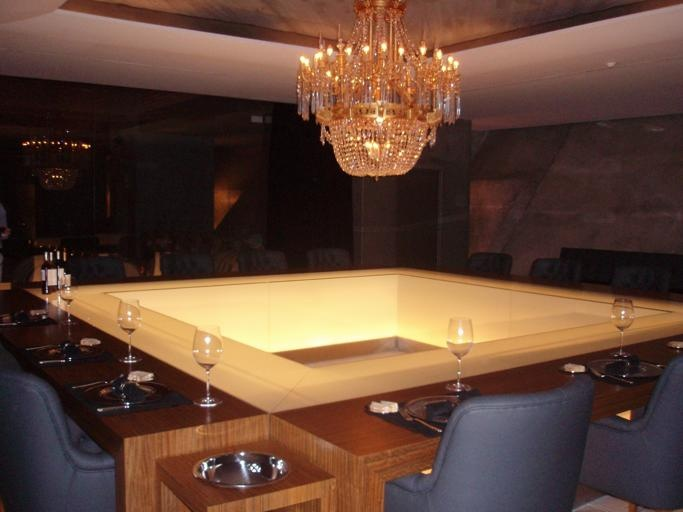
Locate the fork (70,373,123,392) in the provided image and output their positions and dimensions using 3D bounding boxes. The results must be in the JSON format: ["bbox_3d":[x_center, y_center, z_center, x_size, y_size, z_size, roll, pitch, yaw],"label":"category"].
[{"bbox_3d":[-0.846,0.455,2.006,0.240,0.029,0.083,-1,11,13],"label":"fork"}]

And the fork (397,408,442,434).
[{"bbox_3d":[0.241,0.498,1.742,0.039,0.017,0.198,-9,4,-24],"label":"fork"}]
